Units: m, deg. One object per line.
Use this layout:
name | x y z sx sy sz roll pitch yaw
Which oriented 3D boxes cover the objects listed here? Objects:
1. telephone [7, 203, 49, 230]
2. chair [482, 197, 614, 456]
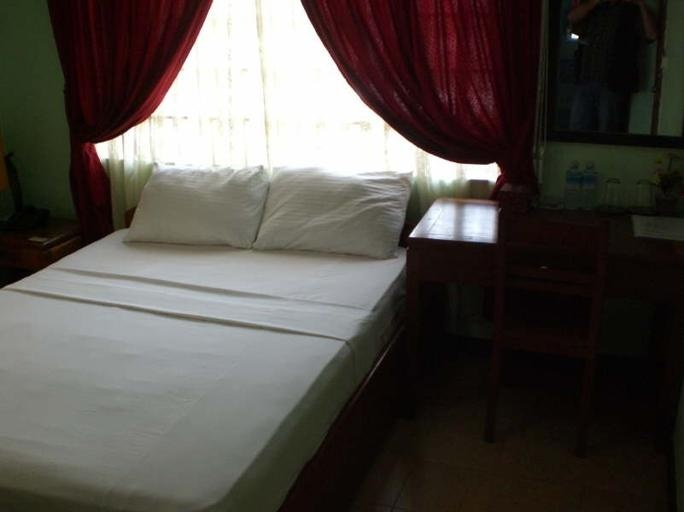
telephone | -2.192 -0.314 3.619 0.184 0.081 0.194 5 30 8
chair | 1.009 0.296 2.526 0.542 1.155 0.626 4 15 17
